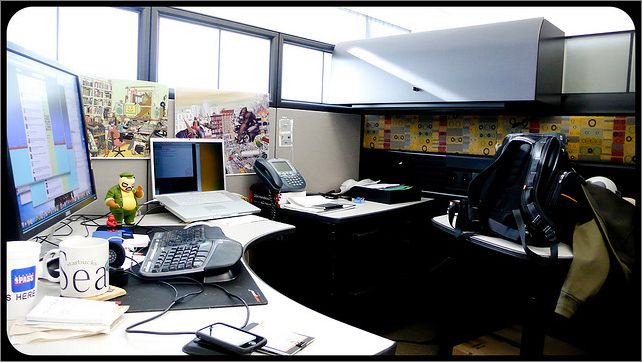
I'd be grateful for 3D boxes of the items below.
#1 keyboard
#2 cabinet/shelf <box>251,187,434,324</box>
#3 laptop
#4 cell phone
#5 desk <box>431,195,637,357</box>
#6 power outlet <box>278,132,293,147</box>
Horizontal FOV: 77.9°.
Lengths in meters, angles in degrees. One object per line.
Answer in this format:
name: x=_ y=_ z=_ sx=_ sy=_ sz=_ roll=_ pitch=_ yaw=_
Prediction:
keyboard: x=-0.677 y=0.339 z=2.062 sx=0.432 sy=0.087 sz=0.651 roll=-1 pitch=12 yaw=-20
cabinet/shelf: x=0.190 y=0.532 z=3.439 sx=1.801 sy=1.003 sz=0.946 roll=0 pitch=5 yaw=-42
laptop: x=-0.774 y=-0.026 z=2.680 sx=0.637 sy=0.352 sz=0.641 roll=0 pitch=21 yaw=-36
cell phone: x=-0.342 y=0.603 z=1.523 sx=0.211 sy=0.023 sz=0.116 roll=7 pitch=11 yaw=27
desk: x=1.550 y=0.499 z=3.034 sx=1.205 sy=1.284 sz=1.409 roll=0 pitch=3 yaw=-44
power outlet: x=-0.318 y=-0.363 z=3.427 sx=0.169 sy=0.135 sz=0.024 roll=-1 pitch=-1 yaw=-32
